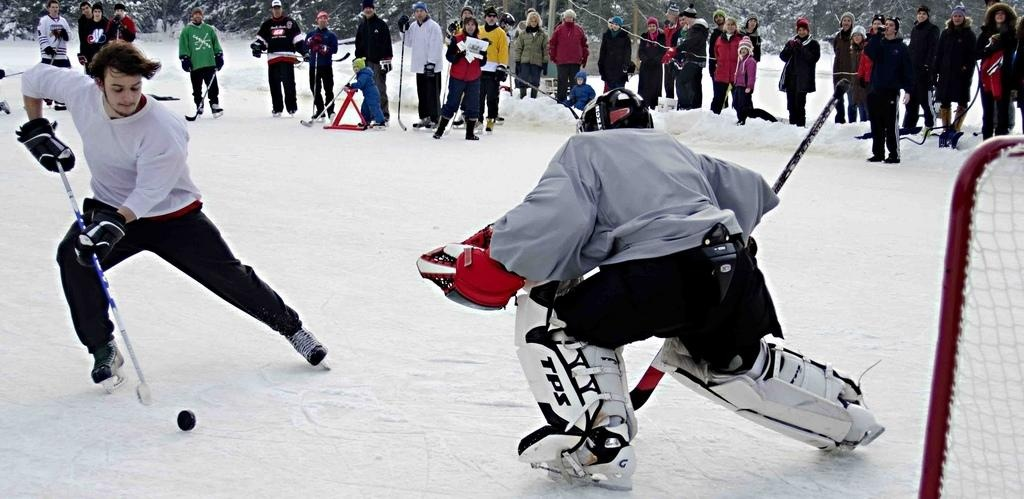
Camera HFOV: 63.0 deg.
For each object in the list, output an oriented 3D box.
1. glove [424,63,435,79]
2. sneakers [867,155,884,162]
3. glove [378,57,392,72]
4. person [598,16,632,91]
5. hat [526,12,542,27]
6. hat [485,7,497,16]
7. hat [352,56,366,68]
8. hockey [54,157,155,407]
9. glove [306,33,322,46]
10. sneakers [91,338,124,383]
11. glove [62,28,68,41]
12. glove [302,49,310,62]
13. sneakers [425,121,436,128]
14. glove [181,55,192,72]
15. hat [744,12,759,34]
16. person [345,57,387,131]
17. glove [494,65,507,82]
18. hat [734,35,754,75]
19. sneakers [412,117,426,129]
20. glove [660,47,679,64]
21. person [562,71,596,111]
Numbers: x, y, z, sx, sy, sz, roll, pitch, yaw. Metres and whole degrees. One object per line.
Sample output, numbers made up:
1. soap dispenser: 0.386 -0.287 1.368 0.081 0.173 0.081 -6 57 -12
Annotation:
1. glove: -1.399 -3.012 14.030 0.217 0.260 0.226 0 6 -13
2. sneakers: 5.237 -1.302 11.959 0.233 0.137 0.080 15 24 42
3. glove: -2.138 -3.203 14.523 0.275 0.219 0.195 -26 31 -12
4. person: 2.027 -3.770 16.109 0.660 1.371 0.708 2 14 6
5. hat: 0.431 -4.479 16.342 0.284 0.286 0.330 -2 -17 2
6. hat: -0.363 -3.979 13.971 0.172 0.137 0.368 -1 12 -8
7. hat: -2.594 -3.161 14.181 0.199 0.159 0.232 1 -13 6
8. hockey: -3.082 0.300 6.313 0.298 2.052 0.082 -22 0 -20
9. glove: -3.499 -3.713 14.787 0.267 0.230 0.273 -24 27 -28
10. sneakers: -3.003 0.829 6.166 0.144 0.165 0.401 -28 14 -2
11. glove: -7.985 -3.801 14.820 0.104 0.201 0.273 -3 13 -16
12. glove: -3.663 -3.402 14.728 0.062 0.123 0.147 8 14 37
13. sneakers: -1.411 -2.145 14.428 0.137 0.036 0.127 -6 -7 23
14. glove: -5.757 -3.269 14.687 0.261 0.244 0.270 2 15 -17
15. hat: 4.258 -3.988 14.844 0.212 0.339 0.546 4 13 14
16. person: -2.511 -2.711 14.317 0.644 1.152 0.685 -1 14 -7
17. glove: -0.173 -2.972 14.042 0.176 0.247 0.243 3 14 10
18. hat: 4.001 -3.364 14.234 0.299 0.540 0.341 4 14 13
19. sneakers: -1.659 -2.206 14.560 0.141 0.153 0.397 -10 13 -39
20. glove: 2.952 -3.627 15.611 0.302 0.236 0.099 9 3 -5
21. person: 1.279 -2.994 15.788 0.719 0.657 0.470 3 19 25
